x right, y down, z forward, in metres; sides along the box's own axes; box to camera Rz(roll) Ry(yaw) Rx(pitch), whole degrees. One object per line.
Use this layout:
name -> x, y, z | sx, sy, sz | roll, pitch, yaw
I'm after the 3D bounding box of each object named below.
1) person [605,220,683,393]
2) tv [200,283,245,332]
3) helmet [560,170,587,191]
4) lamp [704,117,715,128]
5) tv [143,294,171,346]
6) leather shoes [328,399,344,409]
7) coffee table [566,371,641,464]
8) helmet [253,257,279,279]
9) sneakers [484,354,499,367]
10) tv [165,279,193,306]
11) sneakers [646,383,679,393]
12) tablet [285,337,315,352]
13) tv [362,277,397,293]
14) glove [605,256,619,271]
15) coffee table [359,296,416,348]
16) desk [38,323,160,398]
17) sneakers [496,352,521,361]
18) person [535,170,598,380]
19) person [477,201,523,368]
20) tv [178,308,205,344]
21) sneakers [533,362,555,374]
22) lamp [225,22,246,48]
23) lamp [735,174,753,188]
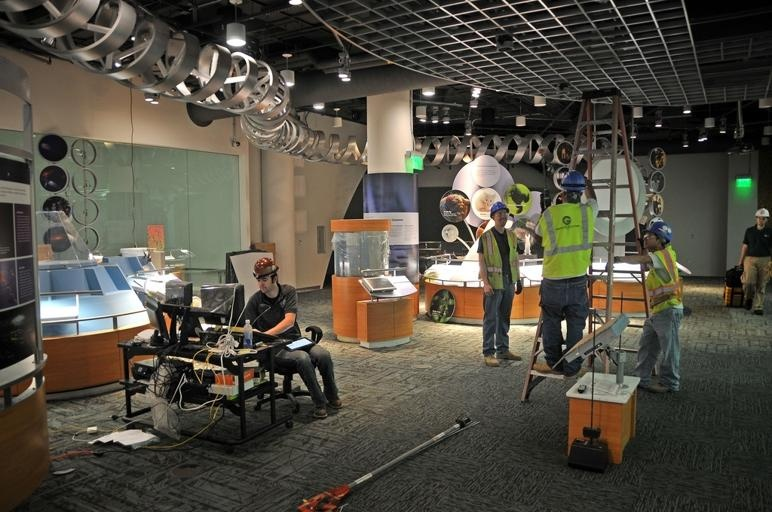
person -> 3.389, 0.659, 6.884 | 0.657, 2.112, 0.772 | 6, 14, 30
tv -> -1.844, 0.599, 6.329 | 0.367, 0.612, 0.617 | 2, 13, 13
helmet -> 2.330, -0.936, 6.797 | 0.344, 0.265, 0.217 | -1, 13, -2
lamp -> 8.191, -3.403, 13.918 | 0.179, 0.229, 0.981 | 6, 15, 28
tv -> -2.627, 0.731, 6.327 | 0.235, 0.528, 0.519 | -6, 10, -32
leather shoes -> -0.599, 1.785, 6.638 | 0.073, 0.081, 0.201 | 0, -5, -40
coffee table -> 2.283, 1.634, 5.800 | 0.515, 0.596, 0.776 | 1, 7, 31
helmet -> -1.451, 0.127, 6.658 | 0.256, 0.202, 0.293 | -2, -4, -6
sneakers -> 1.547, 1.530, 8.092 | 0.214, 0.138, 0.211 | 2, 13, 13
tv -> -2.329, 0.411, 6.164 | 0.289, 0.284, 0.160 | 5, 8, 22
sneakers -> 3.477, 1.656, 6.970 | 0.384, 0.157, 0.156 | -2, 1, -3
tablet -> -1.012, 1.036, 6.484 | 0.128, 0.039, 0.238 | 31, 23, 27
tv -> -0.122, 0.481, 9.114 | 0.548, 0.232, 0.263 | -9, 15, -32
glove -> 3.226, 0.096, 7.857 | 0.191, 0.159, 0.582 | -1, 8, 14
coffee table -> 0.060, 1.114, 9.330 | 0.895, 0.754, 0.349 | -3, 6, -28
desk -> -3.717, 1.254, 7.563 | 1.903, 0.923, 0.622 | -3, 24, -33
sneakers -> 1.831, 1.502, 8.319 | 0.389, 0.161, 0.135 | -1, -3, 8
person -> 2.188, 0.222, 6.741 | 0.637, 2.494, 1.125 | 4, 13, 20
person -> 1.696, 0.404, 8.128 | 0.667, 2.304, 0.605 | -6, 13, -22
tv -> -2.191, 0.777, 6.156 | 0.275, 0.277, 0.180 | -9, -25, -7
sneakers -> 1.921, 1.371, 6.741 | 0.188, 0.076, 0.100 | 7, 5, 35
lamp -> -2.215, -3.288, 8.106 | 0.251, 0.293, 0.354 | -5, 13, -19
lamp -> 11.059, -2.326, 17.043 | 0.603, 0.518, 0.357 | 2, 13, 15
